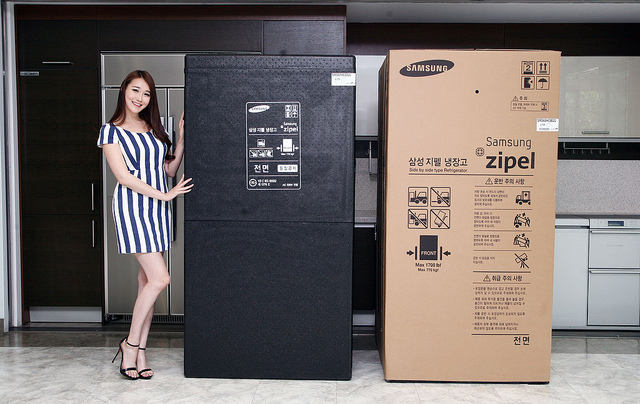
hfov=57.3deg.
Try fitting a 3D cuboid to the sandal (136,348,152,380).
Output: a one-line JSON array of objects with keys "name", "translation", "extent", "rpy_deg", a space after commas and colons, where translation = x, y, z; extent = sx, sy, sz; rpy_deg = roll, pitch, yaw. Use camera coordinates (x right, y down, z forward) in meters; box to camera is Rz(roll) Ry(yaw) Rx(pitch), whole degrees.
[{"name": "sandal", "translation": [-1.554, 1.429, 5.161], "extent": [0.093, 0.254, 0.142], "rpy_deg": [-3, 6, -41]}]

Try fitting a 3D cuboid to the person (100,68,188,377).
[{"name": "person", "translation": [-1.566, 0.203, 5.131], "extent": [0.680, 2.673, 0.326], "rpy_deg": [0, 4, -11]}]

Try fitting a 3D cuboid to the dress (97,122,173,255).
[{"name": "dress", "translation": [-1.612, -0.119, 5.127], "extent": [0.610, 1.132, 0.233], "rpy_deg": [0, 4, -13]}]
